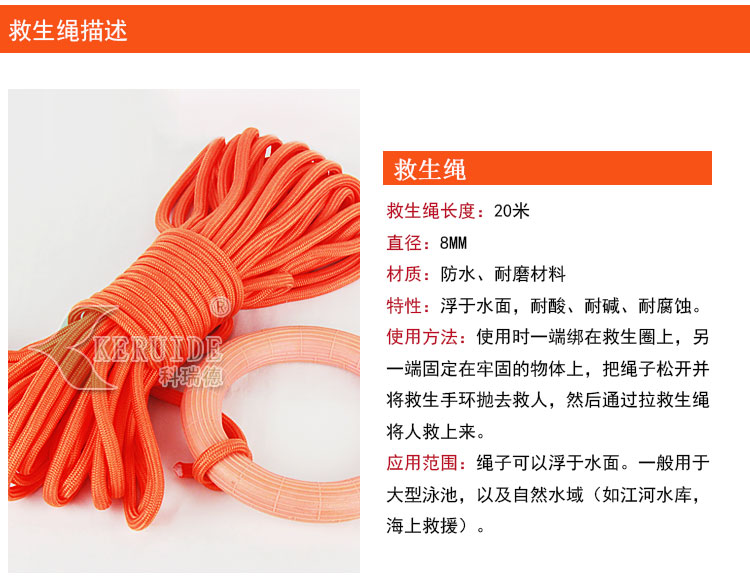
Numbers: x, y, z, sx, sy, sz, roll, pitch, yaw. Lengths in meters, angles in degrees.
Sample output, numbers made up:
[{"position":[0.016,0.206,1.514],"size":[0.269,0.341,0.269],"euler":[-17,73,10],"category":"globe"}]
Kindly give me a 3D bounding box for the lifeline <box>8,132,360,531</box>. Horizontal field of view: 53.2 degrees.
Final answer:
[{"position":[-0.390,0.110,1.623],"size":[0.632,0.770,0.163],"euler":[34,-23,0],"category":"lifeline"}]
